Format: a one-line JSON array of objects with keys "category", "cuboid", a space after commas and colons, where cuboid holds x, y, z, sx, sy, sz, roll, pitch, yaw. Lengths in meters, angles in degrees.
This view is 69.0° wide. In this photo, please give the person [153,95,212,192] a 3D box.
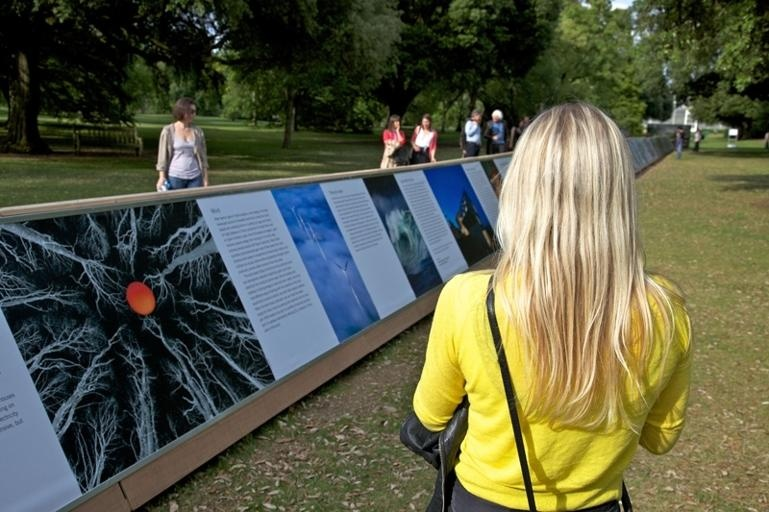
[{"category": "person", "cuboid": [-3.119, -1.738, 8.437, 0.765, 1.367, 0.522, -11, 14, -21]}]
